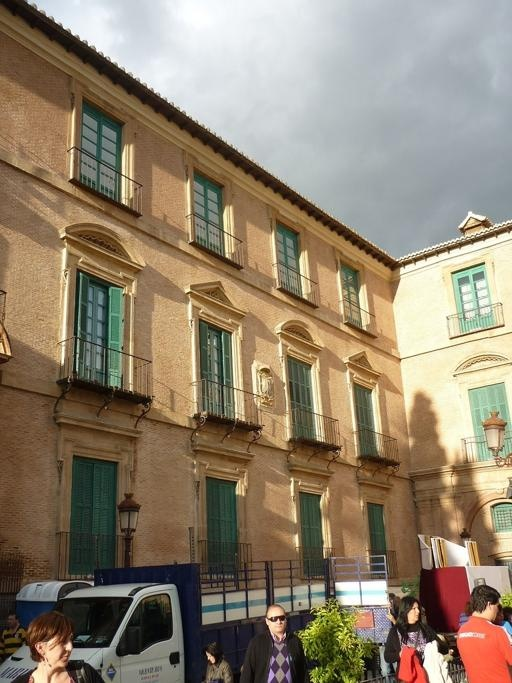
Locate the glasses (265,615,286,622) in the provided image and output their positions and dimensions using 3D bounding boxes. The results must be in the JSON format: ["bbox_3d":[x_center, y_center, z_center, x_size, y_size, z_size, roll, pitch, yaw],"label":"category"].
[{"bbox_3d":[0.182,2.391,5.657,0.140,0.062,0.111,-1,-18,-9],"label":"glasses"}]
